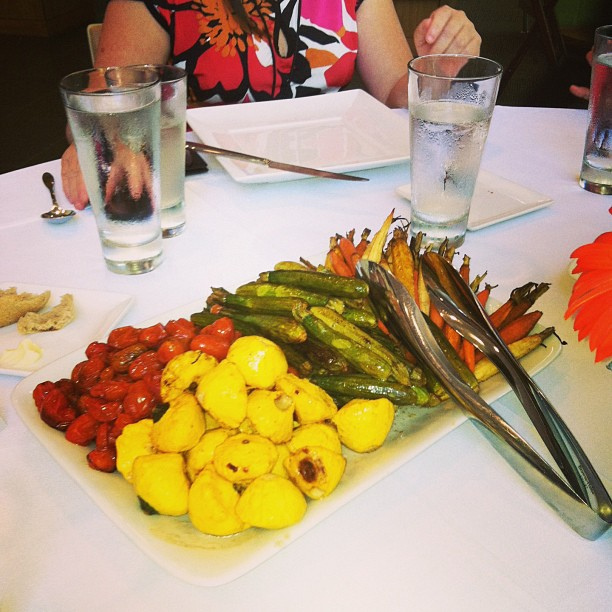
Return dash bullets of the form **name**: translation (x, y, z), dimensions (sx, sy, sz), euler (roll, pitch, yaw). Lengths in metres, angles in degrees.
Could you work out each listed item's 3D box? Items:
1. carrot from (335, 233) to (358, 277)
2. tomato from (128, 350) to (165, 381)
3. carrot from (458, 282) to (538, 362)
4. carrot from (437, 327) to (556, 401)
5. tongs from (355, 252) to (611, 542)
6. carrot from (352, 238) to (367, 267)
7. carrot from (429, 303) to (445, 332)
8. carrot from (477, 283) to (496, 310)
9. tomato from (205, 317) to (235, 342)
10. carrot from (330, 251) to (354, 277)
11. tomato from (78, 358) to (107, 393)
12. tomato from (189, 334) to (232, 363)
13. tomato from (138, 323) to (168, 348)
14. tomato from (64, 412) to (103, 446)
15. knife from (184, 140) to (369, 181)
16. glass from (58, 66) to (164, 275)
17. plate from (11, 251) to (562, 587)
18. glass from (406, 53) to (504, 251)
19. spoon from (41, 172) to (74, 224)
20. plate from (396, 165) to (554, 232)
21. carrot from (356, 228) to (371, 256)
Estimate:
- **carrot**: translation (0.033, -0.050, 0.578), dimensions (0.012, 0.014, 0.051), euler (-31, 45, 4)
- **tomato**: translation (-0.127, 0.046, 0.446), dimensions (0.029, 0.010, 0.020), euler (-27, 30, -16)
- **carrot**: translation (0.162, 0.015, 0.484), dimensions (0.112, 0.019, 0.015), euler (-34, 5, -21)
- **carrot**: translation (0.145, 0.045, 0.446), dimensions (0.136, 0.016, 0.016), euler (-19, 53, -14)
- **tongs**: translation (0.115, 0.047, 0.469), dimensions (0.091, 0.051, 0.291), euler (-21, 52, -25)
- **carrot**: translation (0.058, -0.053, 0.570), dimensions (0.011, 0.007, 0.047), euler (-7, 26, 27)
- **carrot**: translation (0.110, 0.010, 0.492), dimensions (0.009, 0.006, 0.027), euler (4, 46, -17)
- **carrot**: translation (0.168, -0.010, 0.539), dimensions (0.009, 0.005, 0.036), euler (51, 44, 1)
- **tomato**: translation (-0.070, 0.017, 0.472), dimensions (0.022, 0.010, 0.019), euler (-22, 31, -17)
- **carrot**: translation (0.030, -0.041, 0.564), dimensions (0.012, 0.010, 0.034), euler (-3, 41, -41)
- **tomato**: translation (-0.170, 0.056, 0.463), dimensions (0.020, 0.015, 0.024), euler (3, 58, 51)
- **tomato**: translation (-0.074, 0.032, 0.439), dimensions (0.028, 0.011, 0.022), euler (6, 15, -13)
- **tomato**: translation (-0.126, 0.025, 0.478), dimensions (0.022, 0.010, 0.021), euler (23, 39, 28)
- **tomato**: translation (-0.158, 0.088, 0.416), dimensions (0.019, 0.012, 0.023), euler (23, 44, 26)
- **knife**: translation (-0.047, -0.215, 0.858), dimensions (0.331, 0.031, 0.014), euler (15, 31, 9)
- **glass**: translation (-0.210, -0.156, 0.662), dimensions (0.102, 0.213, 0.147), euler (-5, 37, -12)
- **plate**: translation (0.021, 0.057, 0.364), dimensions (0.293, 0.036, 0.189), euler (-21, 39, -27)
- **glass**: translation (0.157, -0.184, 0.684), dimensions (0.113, 0.207, 0.192), euler (12, 36, 11)
- **spoon**: translation (-0.350, -0.150, 0.788), dimensions (0.032, 0.093, 0.012), euler (-12, 70, -20)
- **plate**: translation (0.251, -0.147, 0.784), dimensions (0.150, 0.013, 0.137), euler (-21, 41, -29)
- **carrot**: translation (0.060, -0.065, 0.593), dimensions (0.010, 0.009, 0.039), euler (6, 40, 29)
